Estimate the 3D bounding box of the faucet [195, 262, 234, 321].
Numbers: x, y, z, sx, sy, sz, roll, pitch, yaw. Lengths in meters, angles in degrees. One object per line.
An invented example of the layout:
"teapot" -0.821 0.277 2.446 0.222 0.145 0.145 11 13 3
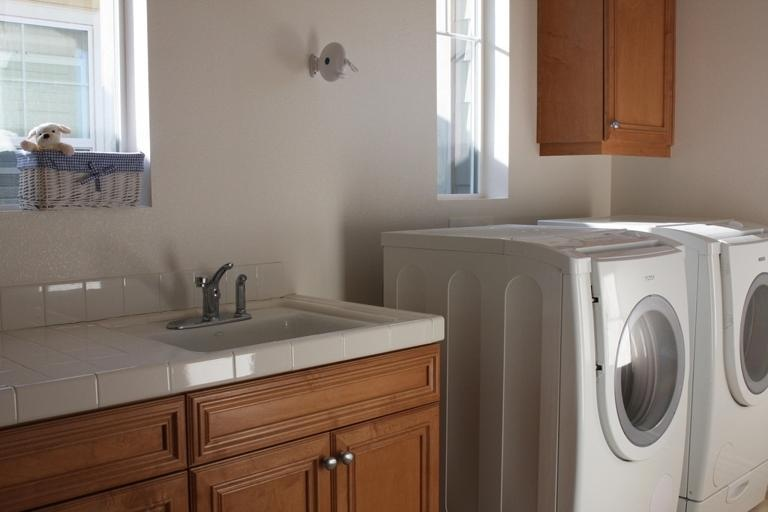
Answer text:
"faucet" -0.623 0.127 2.220 0.125 0.200 0.127 -4 8 -16
